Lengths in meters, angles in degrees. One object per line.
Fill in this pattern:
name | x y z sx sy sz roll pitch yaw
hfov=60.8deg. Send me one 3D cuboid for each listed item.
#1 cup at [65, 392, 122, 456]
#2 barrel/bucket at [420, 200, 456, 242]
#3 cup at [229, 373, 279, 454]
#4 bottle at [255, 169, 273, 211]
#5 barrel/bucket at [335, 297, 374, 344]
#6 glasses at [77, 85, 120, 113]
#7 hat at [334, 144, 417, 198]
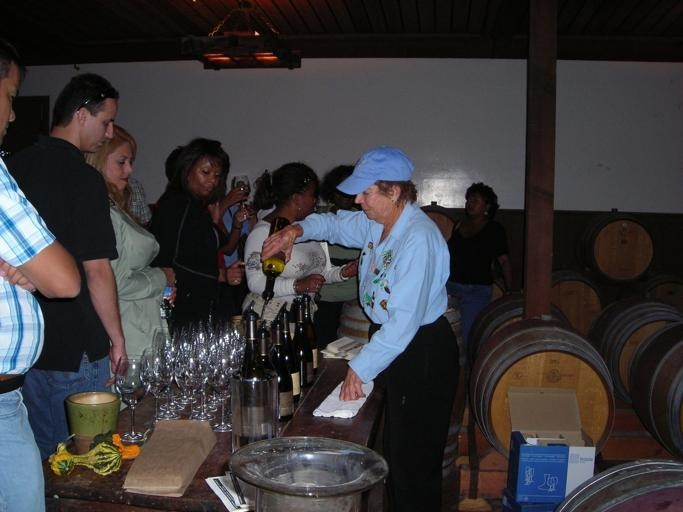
cup | -0.883 0.580 2.061 0.188 0.216 0.204 1 -4 0
barrel/bucket | 1.106 -0.388 6.439 0.415 0.446 0.447 3 -2 0
cup | -0.316 0.596 2.125 0.160 0.283 0.164 -1 -7 0
bottle | -0.491 -0.428 3.671 0.123 0.245 0.358 3 2 -9
barrel/bucket | 0.075 0.399 3.501 0.199 0.207 0.206 1 3 0
glasses | -1.130 -0.731 2.701 0.139 0.075 0.109 -26 7 16
hat | 0.167 -0.440 2.881 0.395 0.209 0.268 -9 23 -18
